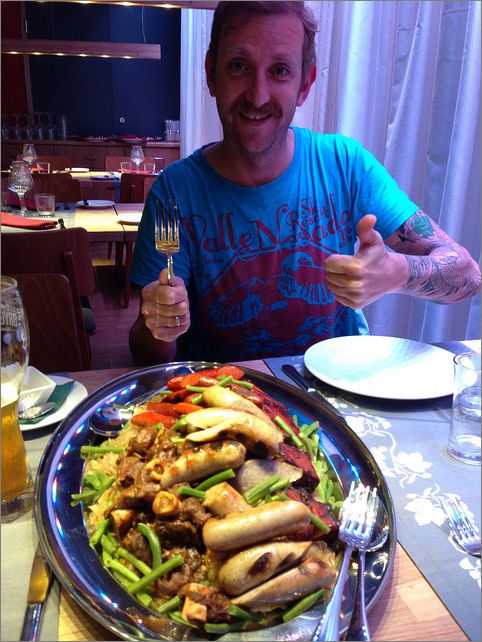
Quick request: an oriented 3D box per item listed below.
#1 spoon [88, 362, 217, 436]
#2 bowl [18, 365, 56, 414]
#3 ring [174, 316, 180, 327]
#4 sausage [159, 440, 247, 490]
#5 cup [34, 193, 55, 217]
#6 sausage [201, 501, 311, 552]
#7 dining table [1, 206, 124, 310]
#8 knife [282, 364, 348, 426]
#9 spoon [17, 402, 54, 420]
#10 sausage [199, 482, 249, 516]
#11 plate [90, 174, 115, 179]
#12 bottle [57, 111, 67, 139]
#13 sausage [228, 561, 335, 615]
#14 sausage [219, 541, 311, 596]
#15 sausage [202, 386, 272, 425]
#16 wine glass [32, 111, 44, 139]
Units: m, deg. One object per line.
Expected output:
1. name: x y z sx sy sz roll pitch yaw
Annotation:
1. spoon: -0.187 0.125 0.788 0.038 0.028 0.197 21 26 15
2. bowl: -0.359 0.119 0.815 0.062 0.035 0.084 4 22 -32
3. ring: -0.149 0.003 1.069 0.010 0.021 0.005 1 8 10
4. sausage: -0.044 0.162 0.569 0.099 0.040 0.051 -21 -3 2
5. cup: -1.236 -0.732 2.894 0.129 0.162 0.142 2 13 3
6. sausage: 0.016 0.200 0.458 0.103 0.038 0.047 -13 15 -18
7. dining table: -1.080 -0.266 2.988 0.611 0.462 0.864 -7 39 -17
8. knife: 0.140 0.124 0.916 0.035 0.024 0.308 -15 27 -6
9. spoon: -0.347 0.156 0.773 0.023 0.007 0.037 15 20 20
10. sausage: -0.018 0.201 0.499 0.025 0.020 0.051 1 2 -18
11. plate: -1.381 -1.441 4.548 0.208 0.056 0.171 -2 25 -11
12. bottle: -2.535 -2.740 6.419 0.143 0.311 0.353 -8 27 -20
13. sausage: 0.036 0.257 0.435 0.085 0.026 0.029 -19 27 -21
14. sausage: 0.025 0.231 0.458 0.091 0.034 0.038 -14 26 -18
15. sausage: -0.010 0.107 0.646 0.107 0.031 0.041 29 24 19
16. wine glass: -2.885 -2.802 6.500 0.136 0.317 0.751 -9 28 -21
